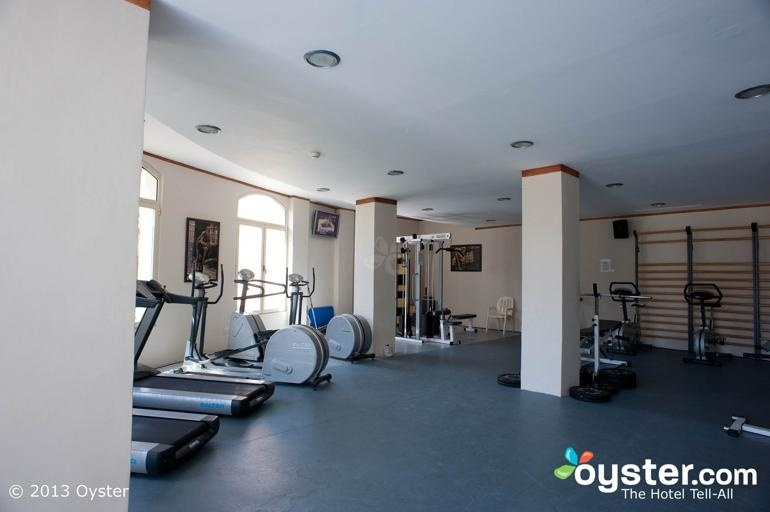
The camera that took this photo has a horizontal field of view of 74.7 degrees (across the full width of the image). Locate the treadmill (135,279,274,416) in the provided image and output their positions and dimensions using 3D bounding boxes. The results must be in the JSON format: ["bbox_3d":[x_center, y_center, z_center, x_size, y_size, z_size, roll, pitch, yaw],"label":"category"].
[{"bbox_3d":[-2.059,0.977,5.837,1.515,1.583,1.608,-2,6,-27],"label":"treadmill"}]

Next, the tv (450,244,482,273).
[{"bbox_3d":[2.129,0.050,12.975,0.034,0.592,0.739,8,-8,-44],"label":"tv"}]

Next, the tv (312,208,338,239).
[{"bbox_3d":[-1.314,-0.715,10.946,0.093,0.406,0.722,3,0,31],"label":"tv"}]

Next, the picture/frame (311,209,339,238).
[{"bbox_3d":[-1.309,-0.713,10.947,0.088,0.384,0.681,3,1,31],"label":"picture/frame"}]

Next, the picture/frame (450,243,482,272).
[{"bbox_3d":[2.129,0.026,12.977,0.036,0.592,0.738,8,-9,-44],"label":"picture/frame"}]

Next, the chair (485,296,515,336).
[{"bbox_3d":[2.732,1.385,11.874,0.616,0.784,0.560,2,-4,-31],"label":"chair"}]
